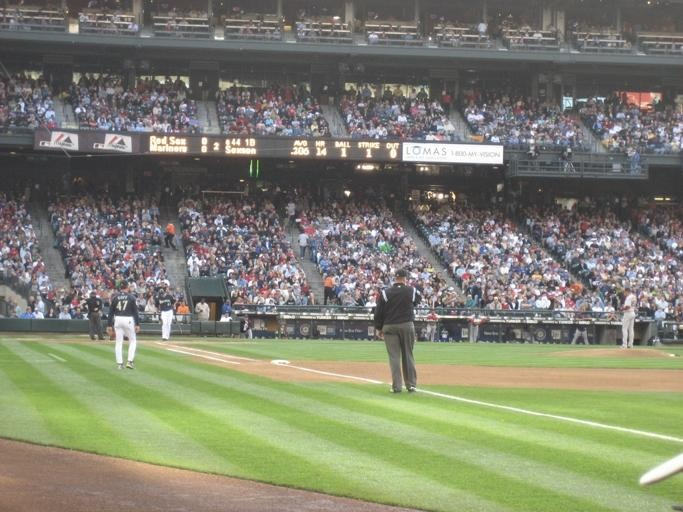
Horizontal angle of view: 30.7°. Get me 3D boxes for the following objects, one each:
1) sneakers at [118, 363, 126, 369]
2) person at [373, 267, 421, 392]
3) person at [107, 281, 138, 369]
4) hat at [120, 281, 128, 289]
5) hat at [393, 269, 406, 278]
[{"bbox_3d":[-6.765,3.388,38.208,0.125,0.173,0.178,1,-17,-11],"label":"sneakers"},{"bbox_3d":[1.687,2.103,35.601,1.264,3.488,0.992,0,-3,-19],"label":"person"},{"bbox_3d":[-6.721,2.100,38.653,0.832,2.795,0.747,1,0,-9],"label":"person"},{"bbox_3d":[-6.692,0.876,38.165,0.195,0.240,0.248,1,-7,-2],"label":"hat"},{"bbox_3d":[1.700,0.462,35.223,0.289,0.227,0.258,3,10,7],"label":"hat"}]
